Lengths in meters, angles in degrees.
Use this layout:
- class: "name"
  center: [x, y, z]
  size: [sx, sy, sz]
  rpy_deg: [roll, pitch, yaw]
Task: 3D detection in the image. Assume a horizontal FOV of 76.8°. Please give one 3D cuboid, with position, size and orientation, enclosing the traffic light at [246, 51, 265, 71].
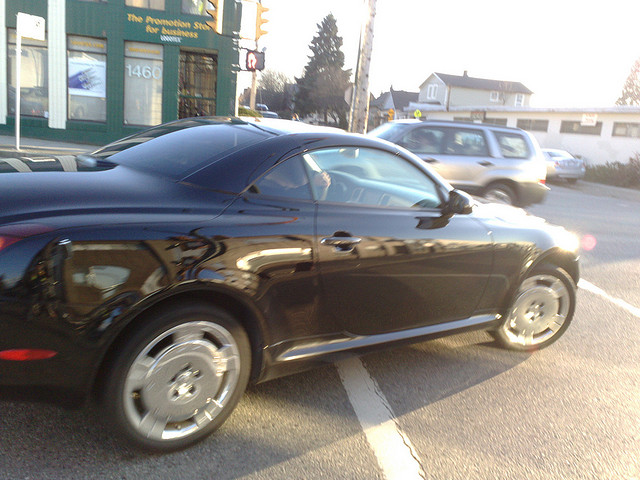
- class: "traffic light"
  center: [-1.936, -5.473, 12.449]
  size: [0.358, 0.577, 0.954]
  rpy_deg: [8, 17, 13]

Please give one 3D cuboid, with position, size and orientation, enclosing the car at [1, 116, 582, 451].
- class: "car"
  center: [0.192, 0.083, 3.248]
  size: [4.195, 1.268, 2.003]
  rpy_deg: [-6, 13, -31]
